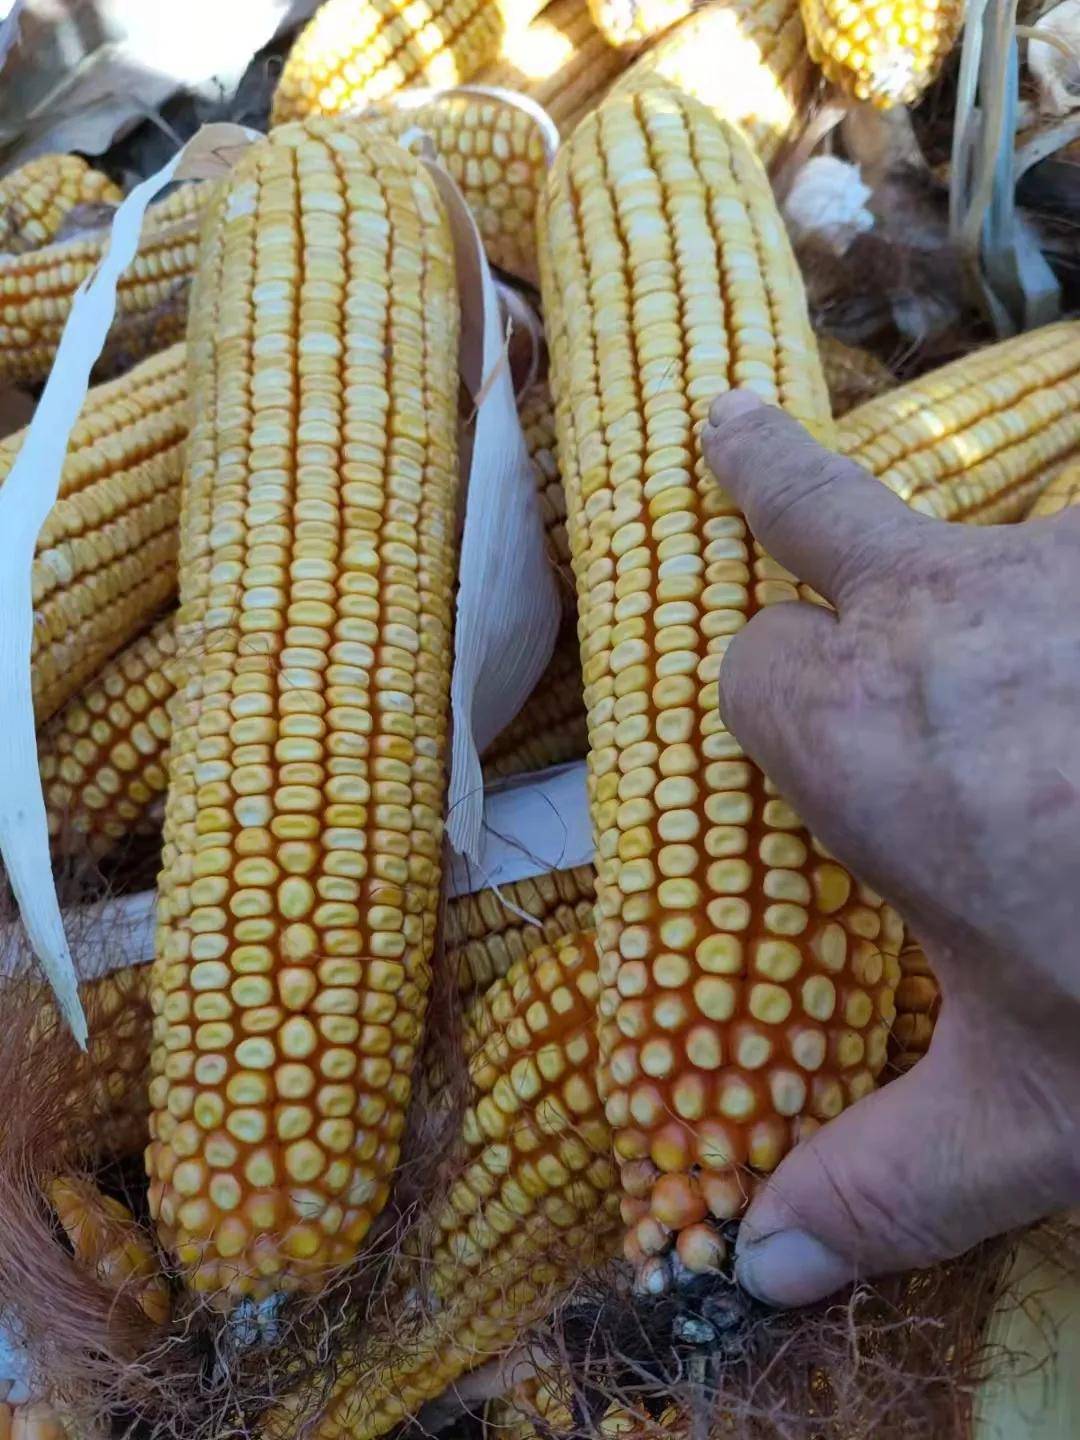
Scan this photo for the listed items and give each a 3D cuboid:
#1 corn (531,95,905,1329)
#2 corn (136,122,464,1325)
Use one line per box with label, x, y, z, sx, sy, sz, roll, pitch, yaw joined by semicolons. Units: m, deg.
corn;0.108;-0.094;1.475;0.239;0.278;1.163;4;76;-22
corn;-0.207;-0.041;1.633;0.260;0.299;1.157;2;82;10
